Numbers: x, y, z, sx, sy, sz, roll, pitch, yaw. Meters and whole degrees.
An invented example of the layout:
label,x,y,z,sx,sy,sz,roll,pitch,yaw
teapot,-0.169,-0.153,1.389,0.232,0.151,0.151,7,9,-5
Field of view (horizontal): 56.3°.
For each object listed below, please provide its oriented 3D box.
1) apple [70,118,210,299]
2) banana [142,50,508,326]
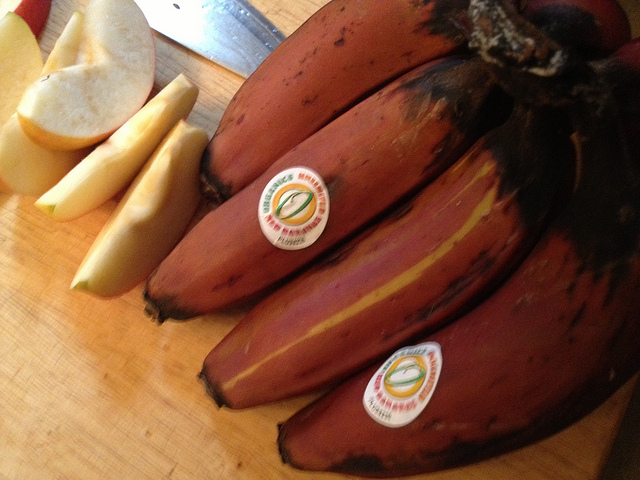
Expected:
label,x,y,z,sx,sy,sz,roll,pitch,yaw
apple,-0.279,-0.027,0.986,0.109,0.202,0.134,38,22,-13
banana,0.021,-0.067,0.882,0.139,0.494,0.163,53,-4,-9
